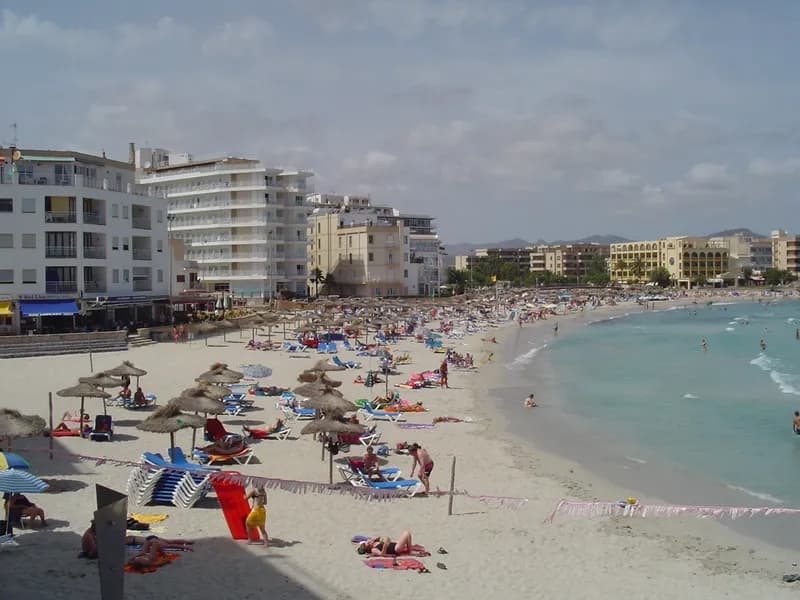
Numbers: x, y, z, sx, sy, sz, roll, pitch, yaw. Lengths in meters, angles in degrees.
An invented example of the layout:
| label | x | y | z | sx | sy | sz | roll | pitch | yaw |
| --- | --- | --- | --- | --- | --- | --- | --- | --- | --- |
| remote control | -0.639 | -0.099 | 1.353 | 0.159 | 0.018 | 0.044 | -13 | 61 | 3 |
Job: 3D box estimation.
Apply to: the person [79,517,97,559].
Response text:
| label | x | y | z | sx | sy | sz | roll | pitch | yaw |
| --- | --- | --- | --- | --- | --- | --- | --- | --- | --- |
| person | -9.326 | 6.878 | 27.386 | 0.437 | 0.992 | 1.038 | 1 | 14 | -20 |

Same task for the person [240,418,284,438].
| label | x | y | z | sx | sy | sz | roll | pitch | yaw |
| --- | --- | --- | --- | --- | --- | --- | --- | --- | --- |
| person | -5.513 | 5.129 | 37.868 | 1.225 | 0.292 | 0.803 | 3 | 6 | 5 |

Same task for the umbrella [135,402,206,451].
| label | x | y | z | sx | sy | sz | roll | pitch | yaw |
| --- | --- | --- | --- | --- | --- | --- | --- | --- | --- |
| umbrella | -7.925 | 4.264 | 32.063 | 2.047 | 1.242 | 1.713 | -2 | -2 | -1 |

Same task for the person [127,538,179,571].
| label | x | y | z | sx | sy | sz | roll | pitch | yaw |
| --- | --- | --- | --- | --- | --- | --- | --- | --- | --- |
| person | -7.384 | 7.360 | 27.329 | 0.912 | 0.578 | 1.409 | 13 | 15 | 31 |

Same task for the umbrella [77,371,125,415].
| label | x | y | z | sx | sy | sz | roll | pitch | yaw |
| --- | --- | --- | --- | --- | --- | --- | --- | --- | --- |
| umbrella | -12.201 | 3.716 | 37.269 | 2.065 | 1.403 | 1.771 | 6 | 3 | -6 |

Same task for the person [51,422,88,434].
| label | x | y | z | sx | sy | sz | roll | pitch | yaw |
| --- | --- | --- | --- | --- | --- | --- | --- | --- | --- |
| person | -13.190 | 4.986 | 36.545 | 1.071 | 0.270 | 0.678 | 2 | -3 | -7 |

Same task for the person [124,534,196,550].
| label | x | y | z | sx | sy | sz | roll | pitch | yaw |
| --- | --- | --- | --- | --- | --- | --- | --- | --- | --- |
| person | -7.284 | 7.154 | 27.985 | 1.958 | 0.321 | 1.188 | 5 | -1 | -8 |

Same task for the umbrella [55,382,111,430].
| label | x | y | z | sx | sy | sz | roll | pitch | yaw |
| --- | --- | --- | --- | --- | --- | --- | --- | --- | --- |
| umbrella | -12.511 | 4.112 | 36.684 | 2.519 | 1.767 | 2.145 | 0 | -9 | -6 |

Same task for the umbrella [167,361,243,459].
| label | x | y | z | sx | sy | sz | roll | pitch | yaw |
| --- | --- | --- | --- | --- | --- | --- | --- | --- | --- |
| umbrella | -7.651 | 4.296 | 35.311 | 3.425 | 2.154 | 2.834 | 0 | 2 | 5 |

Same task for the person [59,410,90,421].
| label | x | y | z | sx | sy | sz | roll | pitch | yaw |
| --- | --- | --- | --- | --- | --- | --- | --- | --- | --- |
| person | -13.646 | 4.767 | 38.301 | 1.224 | 0.298 | 0.791 | 0 | -3 | 18 |
